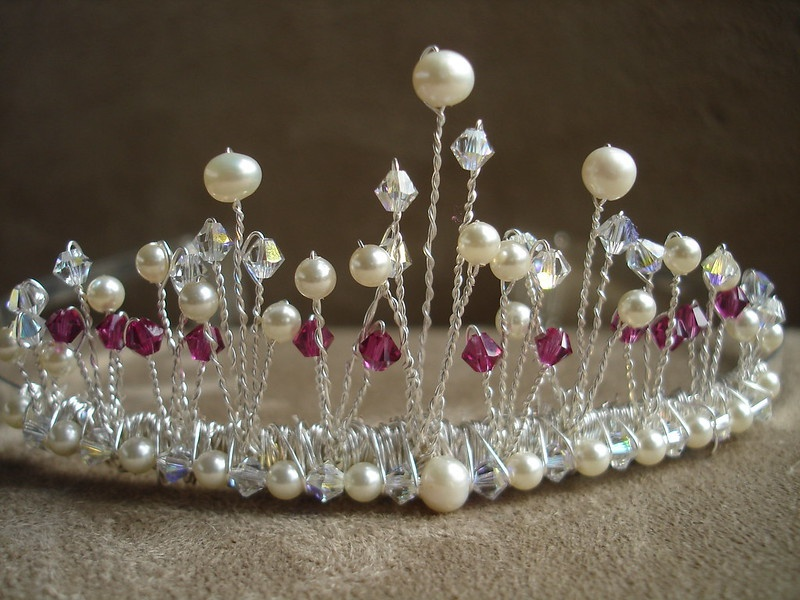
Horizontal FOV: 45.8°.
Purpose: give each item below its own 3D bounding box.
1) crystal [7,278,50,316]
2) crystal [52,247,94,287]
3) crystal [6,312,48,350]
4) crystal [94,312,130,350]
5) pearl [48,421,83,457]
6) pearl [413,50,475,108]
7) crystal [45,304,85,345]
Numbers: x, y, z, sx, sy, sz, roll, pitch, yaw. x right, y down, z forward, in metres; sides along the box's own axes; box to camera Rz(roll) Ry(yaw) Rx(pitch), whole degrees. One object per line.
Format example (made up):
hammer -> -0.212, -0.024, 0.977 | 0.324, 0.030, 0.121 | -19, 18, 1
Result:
crystal -> -0.518, -0.004, 1.328 | 0.052, 0.059, 0.021 | 4, 11, -24
crystal -> -0.422, -0.042, 1.240 | 0.051, 0.052, 0.019 | -23, 11, -21
crystal -> -0.482, 0.038, 1.228 | 0.037, 0.058, 0.060 | -11, 31, -15
crystal -> -0.365, 0.036, 1.211 | 0.037, 0.047, 0.047 | 1, 10, 40
pearl -> -0.430, 0.174, 1.233 | 0.039, 0.050, 0.040 | -2, 11, -13
pearl -> 0.055, -0.271, 1.147 | 0.066, 0.085, 0.065 | 0, -1, 18
crystal -> -0.435, 0.031, 1.237 | 0.044, 0.044, 0.050 | 4, 9, -5
